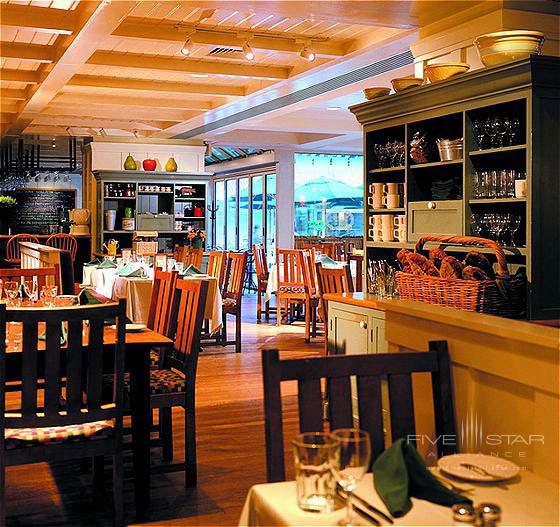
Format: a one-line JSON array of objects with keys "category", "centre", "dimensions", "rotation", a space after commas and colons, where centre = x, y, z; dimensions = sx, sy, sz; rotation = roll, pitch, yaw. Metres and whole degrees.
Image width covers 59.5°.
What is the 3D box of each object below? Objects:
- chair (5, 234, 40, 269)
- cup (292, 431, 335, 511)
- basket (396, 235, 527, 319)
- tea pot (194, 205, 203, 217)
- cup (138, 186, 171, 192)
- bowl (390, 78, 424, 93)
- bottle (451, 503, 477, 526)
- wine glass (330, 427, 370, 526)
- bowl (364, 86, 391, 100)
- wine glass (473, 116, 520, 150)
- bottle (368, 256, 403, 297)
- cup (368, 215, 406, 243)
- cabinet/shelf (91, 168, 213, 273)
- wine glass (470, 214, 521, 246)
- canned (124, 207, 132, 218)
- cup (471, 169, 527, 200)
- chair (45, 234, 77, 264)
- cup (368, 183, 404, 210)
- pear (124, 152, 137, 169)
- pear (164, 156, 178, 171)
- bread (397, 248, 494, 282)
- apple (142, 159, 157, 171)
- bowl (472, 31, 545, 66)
[{"category": "chair", "centre": [-5.304, -0.287, 9.995], "dimensions": [0.539, 0.717, 2.021], "rotation": [-1, 1, -29]}, {"category": "cup", "centre": [0.057, 0.363, 0.849], "dimensions": [0.082, 0.124, 0.066], "rotation": [0, 1, 19]}, {"category": "basket", "centre": [1.070, 0.065, 2.792], "dimensions": [0.591, 0.454, 0.893], "rotation": [0, 1, -11]}, {"category": "tea pot", "centre": [-1.697, -1.079, 10.120], "dimensions": [0.224, 0.210, 0.163], "rotation": [8, -3, 12]}, {"category": "cup", "centre": [-2.493, -1.503, 9.781], "dimensions": [0.617, 0.173, 0.224], "rotation": [0, 1, -7]}, {"category": "bowl", "centre": [0.882, -1.248, 3.403], "dimensions": [0.182, 0.070, 0.176], "rotation": [-2, -4, 0]}, {"category": "bottle", "centre": [0.275, 0.373, 0.732], "dimensions": [0.034, 0.022, 0.028], "rotation": [0, 1, 20]}, {"category": "wine glass", "centre": [0.128, 0.363, 0.890], "dimensions": [0.069, 0.128, 0.247], "rotation": [0, 1, 7]}, {"category": "bowl", "centre": [0.715, -1.270, 3.638], "dimensions": [0.214, 0.085, 0.181], "rotation": [-6, 1, 2]}, {"category": "wine glass", "centre": [1.293, -0.786, 2.935], "dimensions": [0.261, 0.178, 0.215], "rotation": [0, 2, 3]}, {"category": "bottle", "centre": [0.697, 0.073, 3.513], "dimensions": [0.290, 0.323, 0.288], "rotation": [3, 6, 29]}, {"category": "cup", "centre": [0.826, -0.279, 3.819], "dimensions": [0.281, 0.195, 0.165], "rotation": [0, 0, 21]}, {"category": "cabinet/shelf", "centre": [-2.433, -0.845, 8.912], "dimensions": [2.304, 2.050, 0.624], "rotation": [0, 0, -20]}, {"category": "wine glass", "centre": [1.313, -0.213, 2.968], "dimensions": [0.252, 0.173, 0.227], "rotation": [0, 1, -2]}, {"category": "canned", "centre": [-2.946, -0.992, 9.500], "dimensions": [0.184, 0.196, 0.178], "rotation": [2, -2, 5]}, {"category": "cup", "centre": [1.302, -0.442, 2.887], "dimensions": [0.206, 0.119, 0.261], "rotation": [0, 5, -10]}, {"category": "chair", "centre": [-4.318, -0.319, 9.715], "dimensions": [0.559, 0.567, 0.977], "rotation": [0, 1, -23]}, {"category": "cup", "centre": [0.840, -0.534, 3.890], "dimensions": [0.284, 0.200, 0.161], "rotation": [0, 1, 9]}, {"category": "pear", "centre": [-2.888, -1.974, 9.443], "dimensions": [0.298, 0.395, 0.288], "rotation": [0, 2, -7]}, {"category": "pear", "centre": [-2.162, -1.966, 9.709], "dimensions": [0.298, 0.382, 0.291], "rotation": [0, 7, -2]}, {"category": "bread", "centre": [0.947, 0.009, 2.816], "dimensions": [0.276, 0.102, 0.353], "rotation": [2, 2, -21]}, {"category": "apple", "centre": [-2.544, -1.936, 9.561], "dimensions": [0.244, 0.243, 0.232], "rotation": [-1, 17, -19]}, {"category": "bowl", "centre": [1.298, -1.217, 2.785], "dimensions": [0.348, 0.129, 0.336], "rotation": [-1, 2, 0]}]
